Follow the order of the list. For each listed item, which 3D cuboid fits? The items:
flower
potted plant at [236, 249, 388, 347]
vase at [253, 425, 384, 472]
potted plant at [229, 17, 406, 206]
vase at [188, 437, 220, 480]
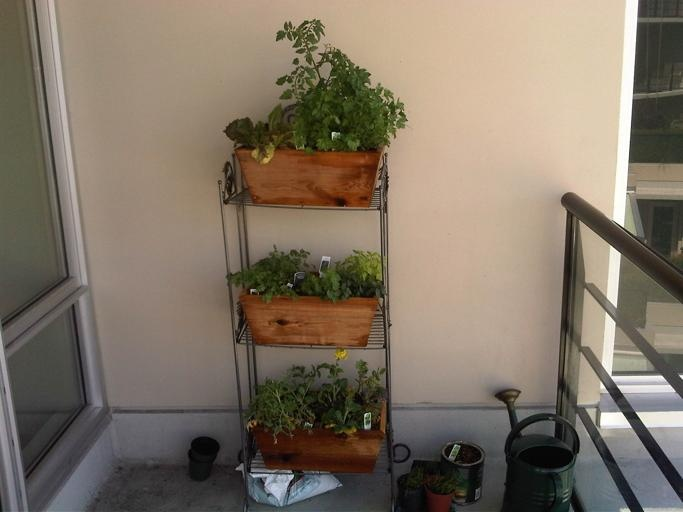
[{"bbox_3d":[-0.138,0.715,3.069,0.515,0.173,0.410,-1,31,2],"label":"flower"},{"bbox_3d":[-0.162,0.188,2.960,0.644,0.342,0.444,0,12,0],"label":"potted plant"},{"bbox_3d":[-0.122,1.001,3.047,0.460,0.169,0.329,1,-7,0],"label":"vase"},{"bbox_3d":[-0.116,-0.714,2.837,0.735,0.750,0.459,1,24,2],"label":"potted plant"},{"bbox_3d":[-0.794,1.157,3.352,0.164,0.188,0.159,15,15,8],"label":"vase"}]
